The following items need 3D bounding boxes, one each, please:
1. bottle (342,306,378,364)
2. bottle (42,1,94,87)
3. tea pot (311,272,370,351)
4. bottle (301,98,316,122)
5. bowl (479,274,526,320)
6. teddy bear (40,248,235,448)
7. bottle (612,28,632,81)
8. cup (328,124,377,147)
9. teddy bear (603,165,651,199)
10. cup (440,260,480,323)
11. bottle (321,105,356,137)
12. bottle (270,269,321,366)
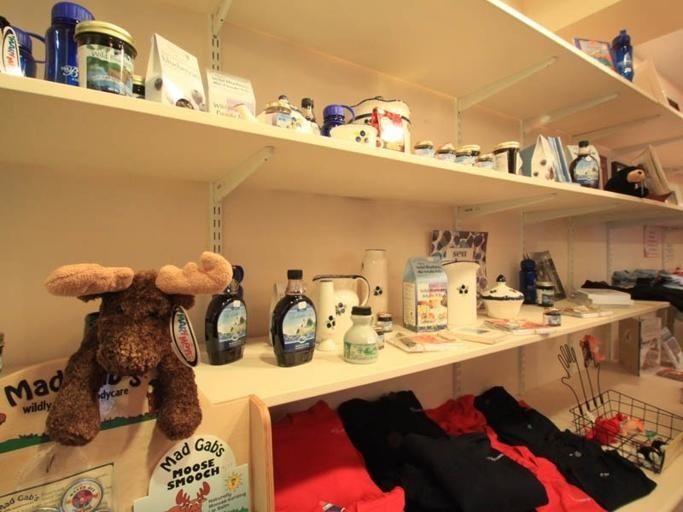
[{"bbox_3d":[0.073,0.255,1.693,0.142,0.177,0.108,-2,1,-15],"label":"bottle"},{"bbox_3d":[-0.741,-0.583,1.414,0.148,0.229,0.095,-1,1,29],"label":"bottle"},{"bbox_3d":[-0.001,0.188,1.873,0.235,0.230,0.152,-1,3,-27],"label":"tea pot"},{"bbox_3d":[-0.112,-0.494,1.749,0.046,0.100,0.095,-1,1,-3],"label":"bottle"},{"bbox_3d":[0.696,0.176,2.249,0.190,0.188,0.184,1,0,0],"label":"bowl"},{"bbox_3d":[-0.551,0.231,1.375,0.474,0.479,0.297,4,7,-27],"label":"teddy bear"},{"bbox_3d":[1.292,-0.897,2.353,0.072,0.220,0.071,-4,-2,0],"label":"bottle"},{"bbox_3d":[0.040,-0.401,1.710,0.157,0.071,0.067,-1,1,1],"label":"cup"},{"bbox_3d":[1.427,-0.367,2.674,0.255,0.185,0.173,5,0,41],"label":"teddy bear"},{"bbox_3d":[0.496,0.157,2.170,0.198,0.252,0.200,-2,0,0],"label":"cup"},{"bbox_3d":[-0.008,-0.472,1.828,0.135,0.135,0.077,-5,12,-4],"label":"bottle"},{"bbox_3d":[-0.141,0.194,1.678,0.187,0.210,0.125,-2,1,-27],"label":"bottle"}]
